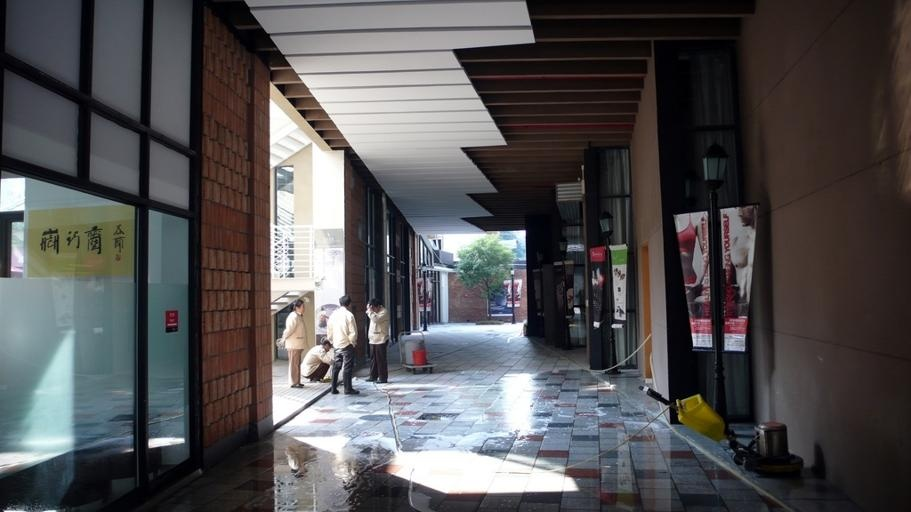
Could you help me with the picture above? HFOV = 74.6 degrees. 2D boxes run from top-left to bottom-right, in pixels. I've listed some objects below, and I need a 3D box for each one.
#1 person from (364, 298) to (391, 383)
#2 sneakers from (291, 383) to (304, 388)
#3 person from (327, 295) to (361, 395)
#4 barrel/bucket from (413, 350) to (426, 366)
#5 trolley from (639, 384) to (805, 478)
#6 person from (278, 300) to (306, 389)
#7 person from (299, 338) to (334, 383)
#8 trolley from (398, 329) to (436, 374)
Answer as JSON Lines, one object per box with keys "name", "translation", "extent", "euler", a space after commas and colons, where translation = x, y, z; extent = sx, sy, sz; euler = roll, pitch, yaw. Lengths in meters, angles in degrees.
{"name": "person", "translation": [-1.727, 1.872, 13.165], "extent": [0.436, 1.798, 0.748], "euler": [-1, 0, -10]}
{"name": "sneakers", "translation": [-3.310, 2.713, 12.554], "extent": [0.271, 0.102, 0.085], "euler": [0, -2, -9]}
{"name": "person", "translation": [-2.305, 1.802, 12.161], "extent": [0.545, 1.963, 0.642], "euler": [-1, 0, -12]}
{"name": "barrel/bucket", "translation": [-0.837, 2.518, 14.775], "extent": [0.325, 0.304, 0.410], "euler": [-11, -12, 34]}
{"name": "trolley", "translation": [3.451, 2.231, 7.623], "extent": [1.906, 0.875, 0.793], "euler": [1, -7, 13]}
{"name": "person", "translation": [-3.489, 1.833, 12.804], "extent": [0.524, 1.860, 0.917], "euler": [-2, 0, -16]}
{"name": "person", "translation": [-2.956, 2.264, 13.143], "extent": [0.700, 0.871, 0.573], "euler": [7, 3, 8]}
{"name": "trolley", "translation": [-0.986, 2.437, 15.048], "extent": [0.683, 0.983, 1.209], "euler": [-4, -4, -17]}
